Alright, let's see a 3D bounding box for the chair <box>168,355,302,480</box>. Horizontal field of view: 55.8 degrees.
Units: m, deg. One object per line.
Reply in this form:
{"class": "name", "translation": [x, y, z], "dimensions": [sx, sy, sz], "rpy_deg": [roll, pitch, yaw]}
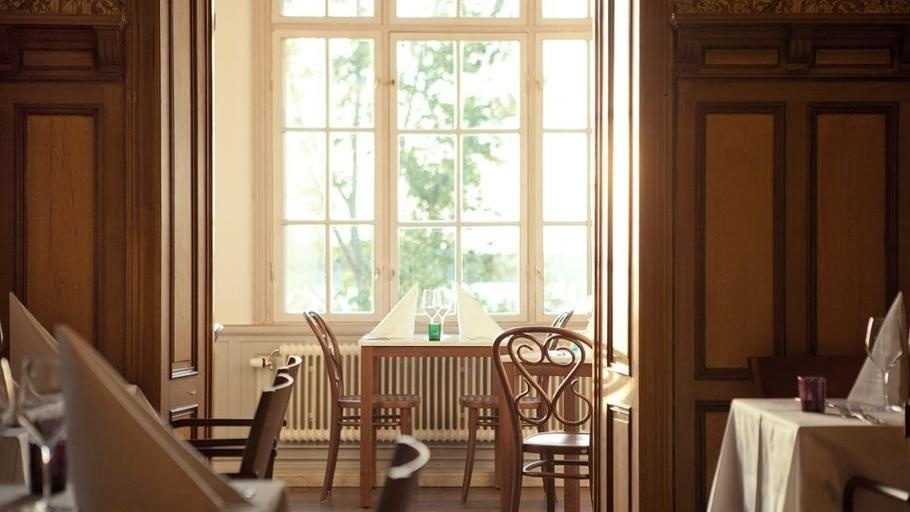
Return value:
{"class": "chair", "translation": [-1.035, 0.782, 4.108], "dimensions": [0.570, 0.573, 1.031], "rpy_deg": [-2, 6, -24]}

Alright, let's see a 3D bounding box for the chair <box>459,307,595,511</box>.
{"class": "chair", "translation": [0.445, 0.993, 5.376], "dimensions": [0.822, 1.326, 1.539], "rpy_deg": [1, 5, 3]}

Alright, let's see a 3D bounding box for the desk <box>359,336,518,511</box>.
{"class": "desk", "translation": [-0.331, 0.999, 5.799], "dimensions": [1.344, 1.355, 0.977], "rpy_deg": [-1, -4, -2]}

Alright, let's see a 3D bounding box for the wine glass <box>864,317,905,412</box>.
{"class": "wine glass", "translation": [1.998, 0.504, 3.989], "dimensions": [0.232, 0.371, 0.117], "rpy_deg": [2, 2, 17]}

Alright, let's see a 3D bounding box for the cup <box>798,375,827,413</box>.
{"class": "cup", "translation": [1.670, 0.651, 4.030], "dimensions": [0.135, 0.159, 0.153], "rpy_deg": [12, -12, -44]}

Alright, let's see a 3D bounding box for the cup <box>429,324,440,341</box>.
{"class": "cup", "translation": [-0.128, 0.526, 5.759], "dimensions": [0.095, 0.105, 0.094], "rpy_deg": [0, -2, 0]}
